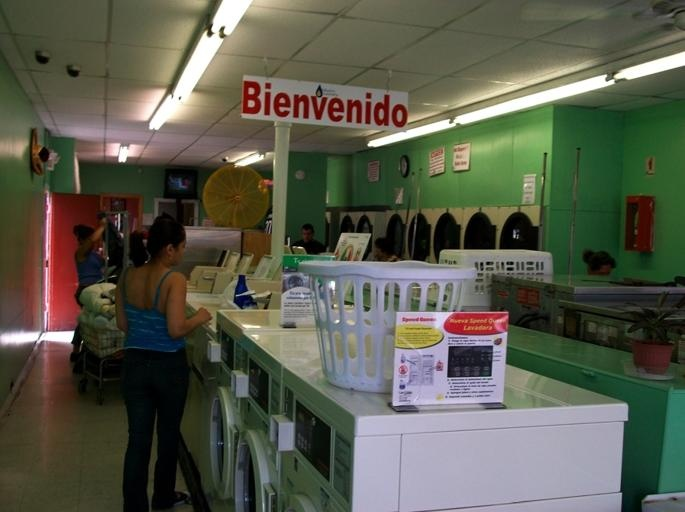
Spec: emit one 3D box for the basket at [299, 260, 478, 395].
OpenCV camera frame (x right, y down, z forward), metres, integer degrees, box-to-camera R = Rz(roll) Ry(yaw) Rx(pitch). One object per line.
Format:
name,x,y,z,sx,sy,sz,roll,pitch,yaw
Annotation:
basket,0.123,0.200,1.847,0.466,0.342,0.491,2,0,6

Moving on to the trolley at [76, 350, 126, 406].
trolley,-2.618,1.260,5.831,0.396,0.551,0.485,1,-14,6

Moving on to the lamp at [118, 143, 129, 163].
lamp,-5.319,-2.464,12.785,0.225,0.064,3.061,0,4,-23

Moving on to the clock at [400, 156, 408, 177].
clock,1.113,-1.618,9.557,0.058,0.400,0.304,0,3,-19

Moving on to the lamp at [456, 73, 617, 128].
lamp,2.361,-1.861,6.283,0.223,0.189,2.093,1,-4,-25
